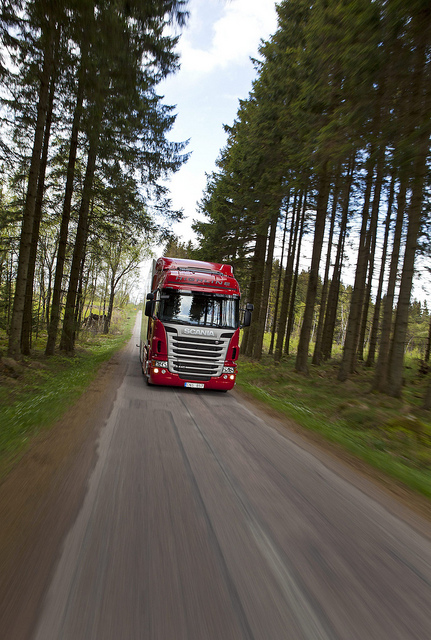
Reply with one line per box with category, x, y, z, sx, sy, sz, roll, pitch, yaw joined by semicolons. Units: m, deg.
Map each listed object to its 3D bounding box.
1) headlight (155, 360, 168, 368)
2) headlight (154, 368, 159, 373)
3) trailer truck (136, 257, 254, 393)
headlight;-1.362;1.126;8.574;0.328;0.133;0.068;7;-3;-6
headlight;-1.498;1.294;8.600;0.107;0.115;0.025;-1;1;1
trailer truck;-0.886;0.299;11.261;1.943;2.836;5.341;6;-4;-8
